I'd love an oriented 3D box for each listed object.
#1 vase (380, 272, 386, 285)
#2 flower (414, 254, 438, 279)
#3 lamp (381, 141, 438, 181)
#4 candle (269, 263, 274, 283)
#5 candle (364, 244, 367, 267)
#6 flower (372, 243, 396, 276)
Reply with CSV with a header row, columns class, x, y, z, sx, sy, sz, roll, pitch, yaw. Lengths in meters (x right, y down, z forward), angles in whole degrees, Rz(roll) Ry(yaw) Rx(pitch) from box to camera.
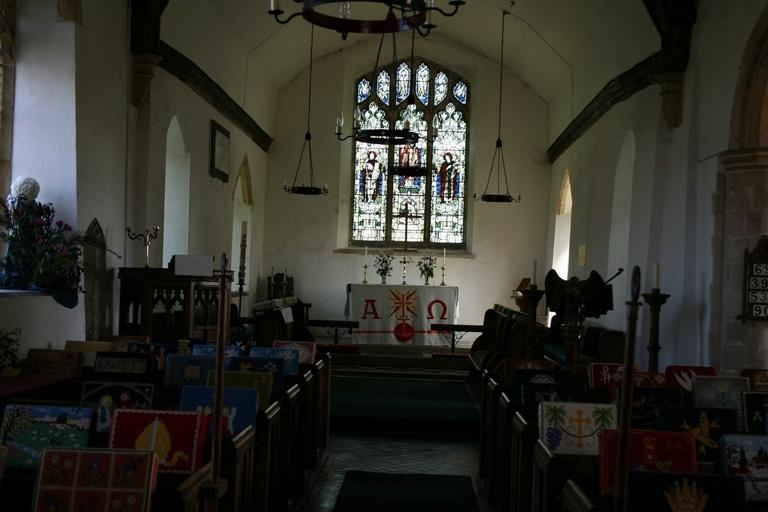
class,x,y,z,sx,sy,sz,roll,pitch,yaw
vase,-0.017,0.440,12.637,0.177,0.296,0.186,0,-4,-4
flower,0.847,0.205,13.227,0.409,0.630,0.440,2,-7,0
lamp,0.346,-1.412,10.154,0.613,0.712,0.646,2,1,19
candle,-2.389,0.360,13.903,0.100,0.308,0.589,0,7,-10
candle,-0.399,0.025,14.121,0.074,0.384,0.238,0,6,-5
flower,-0.003,0.124,13.532,0.462,0.683,0.493,-1,1,-27
